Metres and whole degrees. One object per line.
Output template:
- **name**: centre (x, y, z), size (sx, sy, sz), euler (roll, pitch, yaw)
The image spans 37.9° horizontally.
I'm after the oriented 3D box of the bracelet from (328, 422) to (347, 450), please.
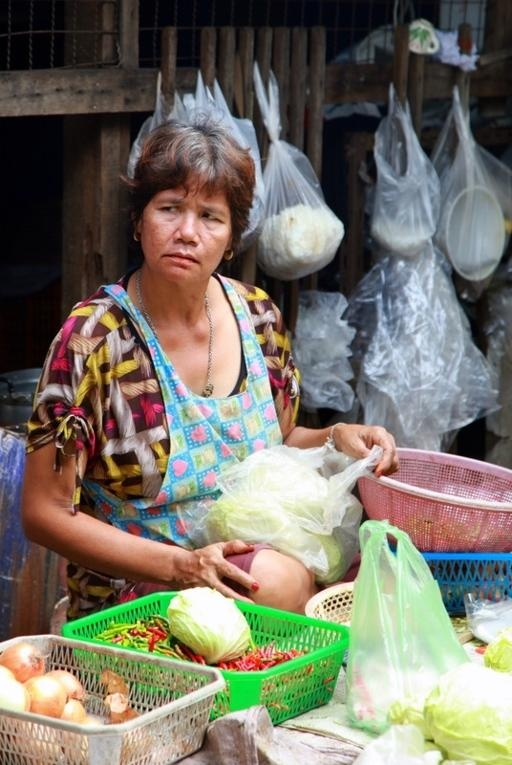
- **bracelet**: centre (0.203, 0.131, 1.909), size (0.047, 0.066, 0.032), euler (2, 9, -1)
